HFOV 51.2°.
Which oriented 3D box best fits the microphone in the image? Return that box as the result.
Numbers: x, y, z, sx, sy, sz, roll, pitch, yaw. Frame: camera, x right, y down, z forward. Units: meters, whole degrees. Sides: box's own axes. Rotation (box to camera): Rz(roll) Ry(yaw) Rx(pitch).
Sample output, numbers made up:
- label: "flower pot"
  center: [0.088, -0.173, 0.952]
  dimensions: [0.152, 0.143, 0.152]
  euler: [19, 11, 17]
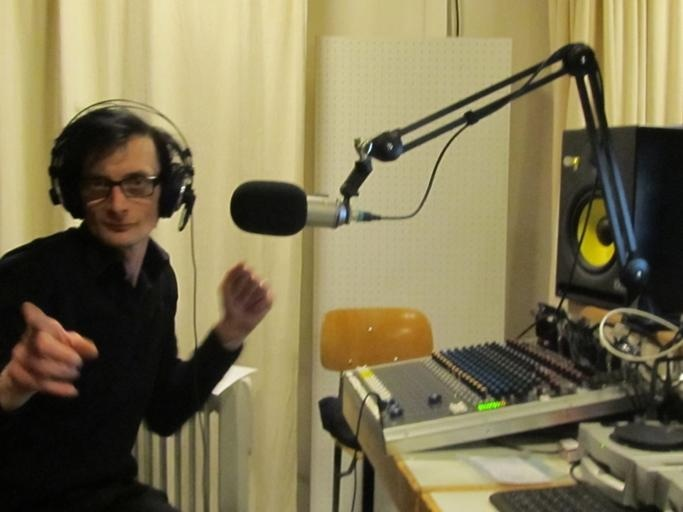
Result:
- label: "microphone"
  center: [-0.084, -0.074, 1.186]
  dimensions: [0.177, 0.092, 0.085]
  euler: [6, -5, 16]

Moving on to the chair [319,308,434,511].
- label: "chair"
  center: [0.069, 0.326, 1.447]
  dimensions: [0.215, 0.458, 0.138]
  euler: [-5, 5, -37]

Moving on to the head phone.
- label: "head phone"
  center: [-0.408, -0.165, 1.307]
  dimensions: [0.256, 0.245, 0.106]
  euler: [0, 10, -7]
